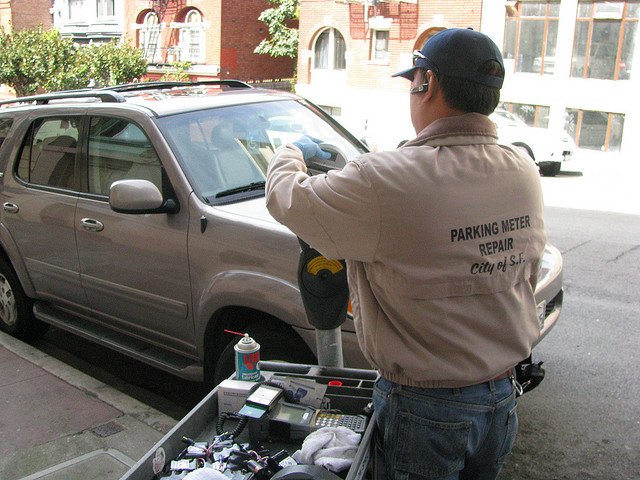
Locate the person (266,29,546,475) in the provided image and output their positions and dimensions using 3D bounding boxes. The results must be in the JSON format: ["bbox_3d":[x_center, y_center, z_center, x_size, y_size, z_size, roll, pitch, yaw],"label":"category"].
[{"bbox_3d":[0.379,0.084,2.274,1.042,1.811,0.549,3,14,10],"label":"person"}]

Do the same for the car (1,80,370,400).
[{"bbox_3d":[-1.247,-0.208,4.817,3.517,1.753,2.135,8,14,35],"label":"car"}]

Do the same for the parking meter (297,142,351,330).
[{"bbox_3d":[0.025,0.047,2.706,0.331,0.769,0.196,3,-23,-9],"label":"parking meter"}]

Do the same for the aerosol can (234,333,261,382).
[{"bbox_3d":[-0.351,0.596,2.821,0.142,0.210,0.130,1,14,0],"label":"aerosol can"}]
